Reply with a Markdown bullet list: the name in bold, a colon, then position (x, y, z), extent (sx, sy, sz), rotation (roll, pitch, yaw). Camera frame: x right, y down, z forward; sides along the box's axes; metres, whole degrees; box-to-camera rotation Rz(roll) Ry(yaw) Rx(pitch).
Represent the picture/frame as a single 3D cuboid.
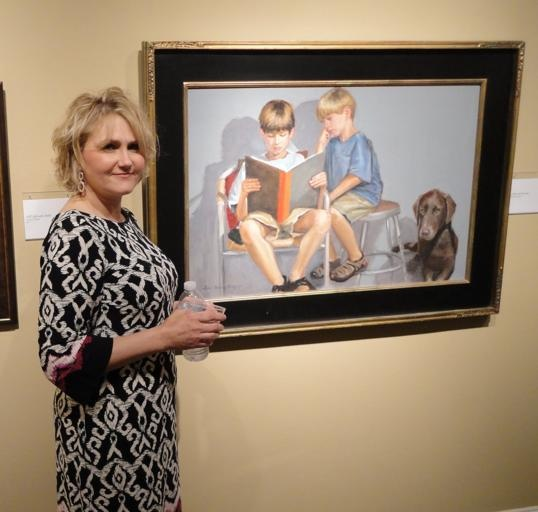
- **picture/frame**: position (0.181, -0.228, 1.704), extent (0.933, 0.814, 0.040), rotation (-3, 14, -10)
